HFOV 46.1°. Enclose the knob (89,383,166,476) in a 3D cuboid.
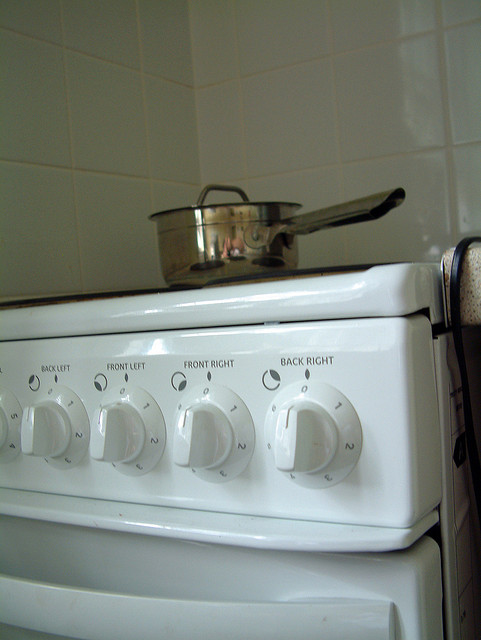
[{"bbox_3d":[-0.082,0.074,0.378,0.058,0.071,0.033,9,14,34],"label":"knob"}]
